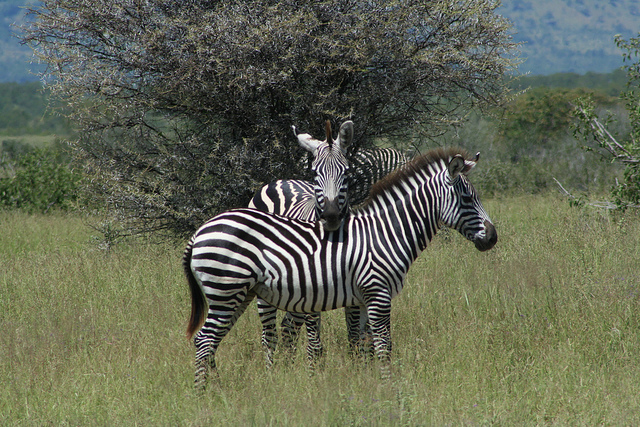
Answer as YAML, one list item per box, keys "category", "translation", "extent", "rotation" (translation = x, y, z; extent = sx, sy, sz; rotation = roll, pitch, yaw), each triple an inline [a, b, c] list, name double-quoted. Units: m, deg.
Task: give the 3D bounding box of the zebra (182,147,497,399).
- category: "zebra"
  translation: [0.360, 1.107, 15.919]
  extent: [5.451, 4.330, 1.529]
  rotation: [-3, 6, -3]
